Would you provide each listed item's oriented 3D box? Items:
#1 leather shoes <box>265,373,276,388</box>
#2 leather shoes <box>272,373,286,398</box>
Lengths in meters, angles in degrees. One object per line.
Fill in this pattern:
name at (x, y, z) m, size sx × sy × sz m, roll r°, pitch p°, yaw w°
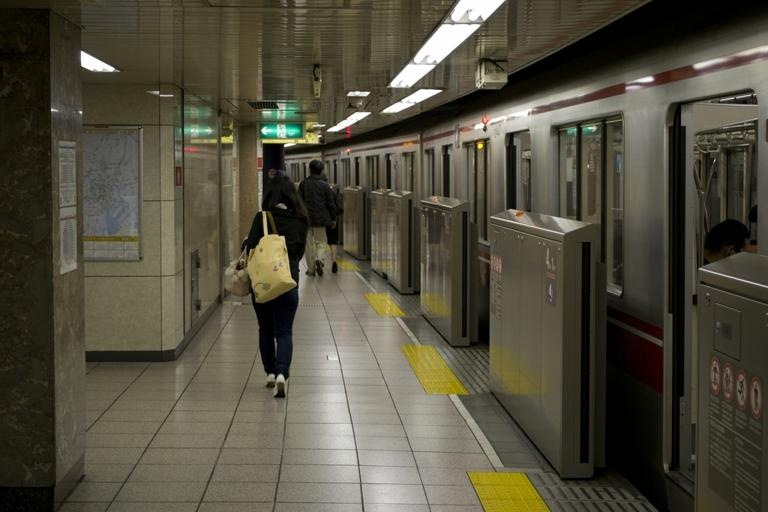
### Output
leather shoes at (-1.238, 1.356, 5.984) m, size 0.081 × 0.098 × 0.229 m, roll 2°, pitch -25°, yaw -10°
leather shoes at (-1.102, 1.365, 5.799) m, size 0.105 × 0.116 × 0.275 m, roll 0°, pitch -3°, yaw -6°
